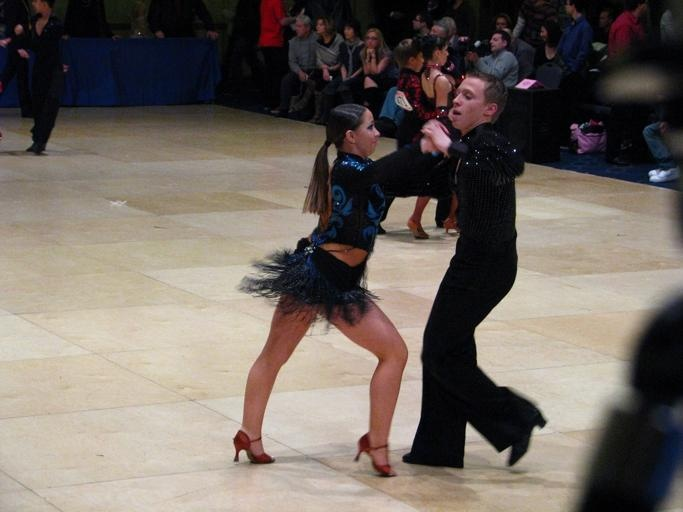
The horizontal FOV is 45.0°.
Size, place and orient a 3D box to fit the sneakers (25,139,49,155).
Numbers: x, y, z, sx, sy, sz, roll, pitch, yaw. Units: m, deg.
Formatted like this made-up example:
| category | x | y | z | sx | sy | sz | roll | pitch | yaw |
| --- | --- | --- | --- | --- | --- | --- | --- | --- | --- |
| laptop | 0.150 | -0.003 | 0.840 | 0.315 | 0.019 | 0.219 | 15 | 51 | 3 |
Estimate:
| category | x | y | z | sx | sy | sz | roll | pitch | yaw |
| --- | --- | --- | --- | --- | --- | --- | --- | --- | --- |
| sneakers | -5.317 | -1.940 | 14.795 | 0.509 | 0.186 | 0.163 | 9 | 15 | 20 |

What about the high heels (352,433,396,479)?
| category | x | y | z | sx | sy | sz | roll | pitch | yaw |
| --- | --- | --- | --- | --- | --- | --- | --- | --- | --- |
| high heels | 0.193 | 1.014 | 4.192 | 0.274 | 0.116 | 0.089 | 20 | 11 | 32 |

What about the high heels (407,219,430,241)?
| category | x | y | z | sx | sy | sz | roll | pitch | yaw |
| --- | --- | --- | --- | --- | --- | --- | --- | --- | --- |
| high heels | 0.869 | -0.299 | 9.733 | 0.165 | 0.111 | 0.377 | -22 | -32 | 21 |

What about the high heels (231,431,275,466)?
| category | x | y | z | sx | sy | sz | roll | pitch | yaw |
| --- | --- | --- | --- | --- | --- | --- | --- | --- | --- |
| high heels | -0.452 | 1.014 | 4.334 | 0.113 | 0.154 | 0.269 | -11 | -24 | 41 |
